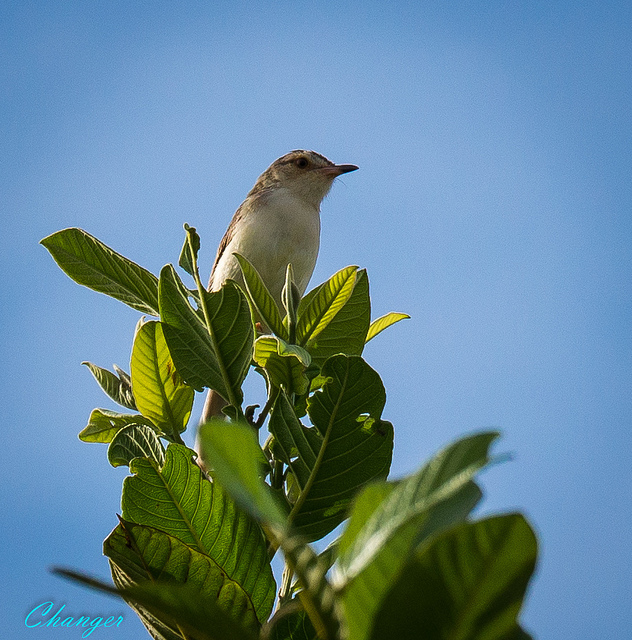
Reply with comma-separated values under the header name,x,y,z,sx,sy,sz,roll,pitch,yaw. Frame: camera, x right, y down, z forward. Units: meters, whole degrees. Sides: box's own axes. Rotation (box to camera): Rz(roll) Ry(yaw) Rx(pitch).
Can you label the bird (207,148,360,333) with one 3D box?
name,x,y,z,sx,sy,sz,roll,pitch,yaw
bird,-0.077,-0.140,2.020,0.310,0.340,0.142,3,-9,46
